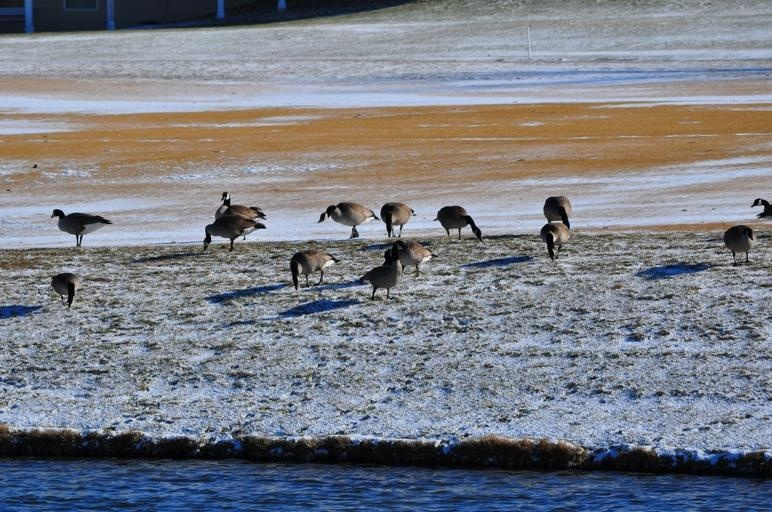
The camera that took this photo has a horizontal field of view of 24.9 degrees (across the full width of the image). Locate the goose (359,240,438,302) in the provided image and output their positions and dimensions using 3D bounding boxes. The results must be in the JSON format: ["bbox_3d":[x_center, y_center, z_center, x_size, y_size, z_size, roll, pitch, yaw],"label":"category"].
[{"bbox_3d":[0.348,0.389,50.240,1.179,1.641,2.262,1,7,28],"label":"goose"}]

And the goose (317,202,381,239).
[{"bbox_3d":[-1.102,-1.252,54.992,2.080,1.054,0.837,-15,12,-29],"label":"goose"}]

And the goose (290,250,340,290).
[{"bbox_3d":[-2.073,0.381,50.886,1.197,1.131,1.912,0,6,16],"label":"goose"}]

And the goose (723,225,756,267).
[{"bbox_3d":[10.407,-0.369,51.301,1.133,1.145,1.890,-1,13,2],"label":"goose"}]

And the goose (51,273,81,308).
[{"bbox_3d":[-9.075,0.891,49.691,0.559,0.701,1.292,-2,31,-9],"label":"goose"}]

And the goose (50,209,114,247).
[{"bbox_3d":[-9.507,-0.979,54.789,2.437,1.238,0.744,-7,-7,27],"label":"goose"}]

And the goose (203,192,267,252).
[{"bbox_3d":[-4.712,-0.888,54.164,1.890,1.351,2.642,-3,6,-4],"label":"goose"}]
